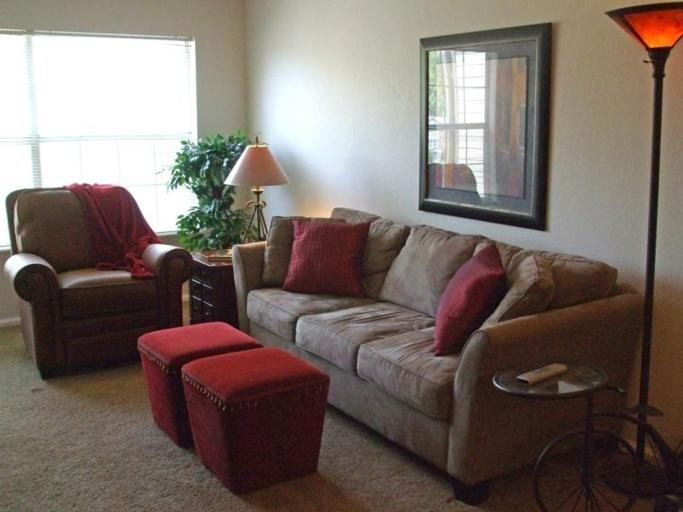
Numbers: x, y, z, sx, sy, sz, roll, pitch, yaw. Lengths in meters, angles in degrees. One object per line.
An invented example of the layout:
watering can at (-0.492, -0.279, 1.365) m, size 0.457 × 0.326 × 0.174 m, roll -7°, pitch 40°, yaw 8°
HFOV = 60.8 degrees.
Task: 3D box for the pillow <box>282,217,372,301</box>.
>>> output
pillow at (-0.093, 0.039, 4.019) m, size 0.451 × 0.458 × 0.165 m, roll 8°, pitch -7°, yaw 22°

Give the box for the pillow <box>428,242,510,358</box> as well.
pillow at (0.667, 0.230, 2.995) m, size 0.281 × 0.362 × 0.499 m, roll -1°, pitch -19°, yaw -21°

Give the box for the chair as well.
chair at (-1.880, 0.103, 4.584) m, size 1.201 × 1.320 × 1.355 m, roll -4°, pitch 7°, yaw -38°

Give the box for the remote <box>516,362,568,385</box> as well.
remote at (0.881, 0.509, 2.551) m, size 0.207 × 0.031 × 0.092 m, roll -11°, pitch 12°, yaw -32°

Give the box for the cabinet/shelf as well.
cabinet/shelf at (-1.000, 0.188, 4.584) m, size 0.491 × 0.817 × 0.592 m, roll -2°, pitch 6°, yaw -28°

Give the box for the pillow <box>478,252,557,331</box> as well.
pillow at (0.912, 0.162, 2.937) m, size 0.312 × 0.243 × 0.670 m, roll 3°, pitch 13°, yaw 21°

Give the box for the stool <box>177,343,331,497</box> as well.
stool at (-0.477, 0.742, 3.018) m, size 0.628 × 0.580 × 0.630 m, roll 1°, pitch 3°, yaw -28°
